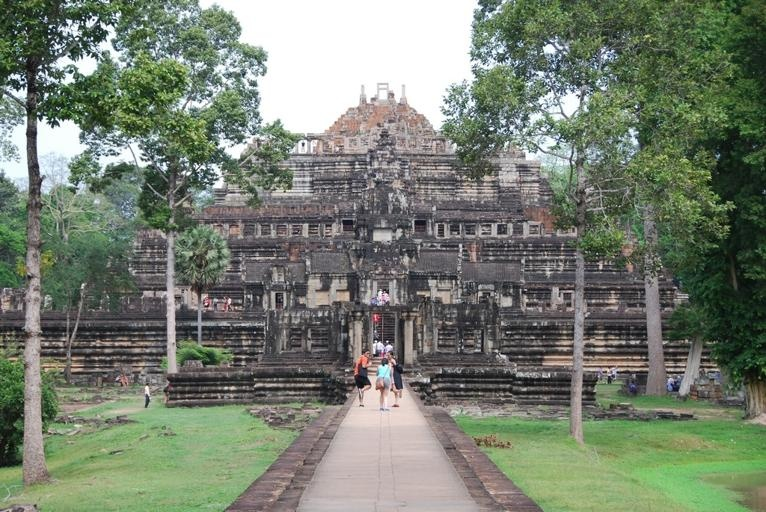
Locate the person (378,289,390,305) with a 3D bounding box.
[{"bbox_3d":[0.048,2.165,61.754,0.568,0.751,0.281,2,-20,-3],"label":"person"}]
